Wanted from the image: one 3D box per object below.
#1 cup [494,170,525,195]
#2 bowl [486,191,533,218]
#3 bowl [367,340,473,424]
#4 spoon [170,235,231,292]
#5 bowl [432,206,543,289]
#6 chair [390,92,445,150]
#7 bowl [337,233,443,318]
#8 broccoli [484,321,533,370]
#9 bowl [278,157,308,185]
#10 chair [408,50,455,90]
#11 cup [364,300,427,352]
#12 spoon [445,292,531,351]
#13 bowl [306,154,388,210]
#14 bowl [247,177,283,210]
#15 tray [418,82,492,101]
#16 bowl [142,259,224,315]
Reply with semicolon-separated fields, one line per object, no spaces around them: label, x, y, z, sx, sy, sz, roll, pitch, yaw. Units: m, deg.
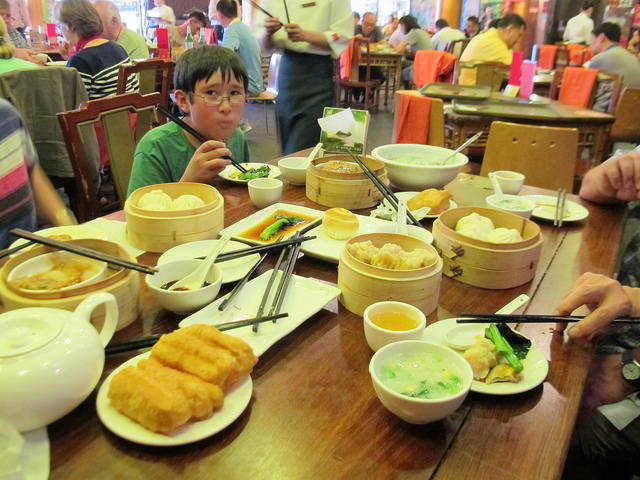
cup;0.895;-0.283;2.190;0.131;0.097;0.128;3;14;-1
bowl;0.812;-0.153;1.927;0.189;0.071;0.185;0;24;0
bowl;0.235;0.323;1.044;0.273;0.164;0.255;1;13;0
spoon;-0.359;0.085;1.424;0.064;0.034;0.241;43;68;6
bowl;0.573;0.020;1.583;0.309;0.173;0.323;0;27;0
chair;0.832;-0.978;3.747;0.457;0.441;0.253;22;47;35
bowl;0.213;0.095;1.437;0.337;0.185;0.324;2;28;-1
broccoli;0.488;0.271;1.180;0.098;0.047;0.110;-27;30;-32
bowl;-0.143;-0.364;2.328;0.163;0.091;0.160;2;21;-1
chair;1.743;-2.696;7.037;0.369;0.528;0.743;-15;28;-36
cup;0.199;0.249;1.224;0.162;0.102;0.160;1;22;0
spoon;0.511;0.251;1.328;0.337;0.042;0.113;-29;26;-24
bowl;0.089;-0.326;2.114;0.301;0.126;0.288;0;22;0
bowl;-0.231;-0.224;2.021;0.146;0.105;0.143;0;20;0
tray;1.381;-1.526;4.613;0.653;0.075;0.846;10;28;20
bowl;-0.392;0.152;1.361;0.209;0.111;0.207;1;22;0
